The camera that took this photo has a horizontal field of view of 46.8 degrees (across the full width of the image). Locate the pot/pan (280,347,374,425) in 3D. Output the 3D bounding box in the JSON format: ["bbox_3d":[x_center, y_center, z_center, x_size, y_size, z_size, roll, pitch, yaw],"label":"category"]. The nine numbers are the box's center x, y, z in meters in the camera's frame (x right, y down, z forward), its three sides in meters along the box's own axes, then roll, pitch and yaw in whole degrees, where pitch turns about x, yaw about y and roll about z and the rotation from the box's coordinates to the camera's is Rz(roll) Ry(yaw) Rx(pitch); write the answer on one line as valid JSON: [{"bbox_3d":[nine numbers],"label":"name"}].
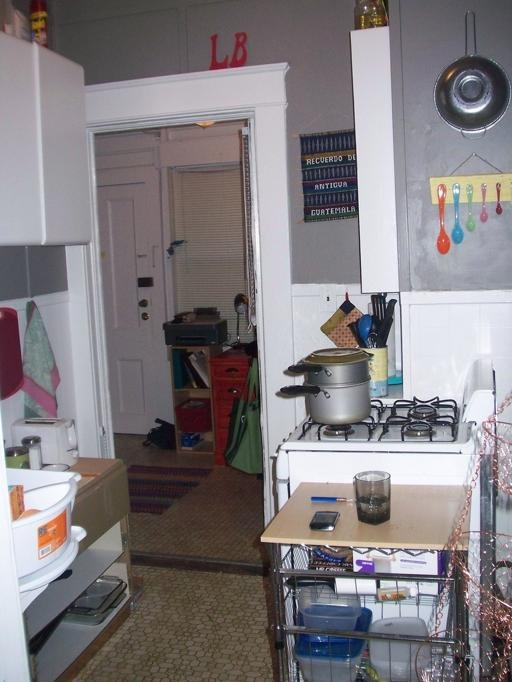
[{"bbox_3d":[0.276,0.148,1.957,0.321,0.194,0.198,-9,7,-21],"label":"pot/pan"}]

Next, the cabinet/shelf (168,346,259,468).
[{"bbox_3d":[-0.295,0.471,4.252,0.915,0.829,0.346,0,3,14],"label":"cabinet/shelf"}]

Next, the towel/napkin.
[{"bbox_3d":[-0.902,0.077,2.396,0.152,0.473,0.441,-3,7,-6],"label":"towel/napkin"}]

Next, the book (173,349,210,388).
[{"bbox_3d":[-0.510,0.205,4.445,0.240,0.311,0.096,4,16,15],"label":"book"}]

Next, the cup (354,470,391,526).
[{"bbox_3d":[0.283,0.384,1.445,0.083,0.105,0.090,-2,7,0],"label":"cup"}]
